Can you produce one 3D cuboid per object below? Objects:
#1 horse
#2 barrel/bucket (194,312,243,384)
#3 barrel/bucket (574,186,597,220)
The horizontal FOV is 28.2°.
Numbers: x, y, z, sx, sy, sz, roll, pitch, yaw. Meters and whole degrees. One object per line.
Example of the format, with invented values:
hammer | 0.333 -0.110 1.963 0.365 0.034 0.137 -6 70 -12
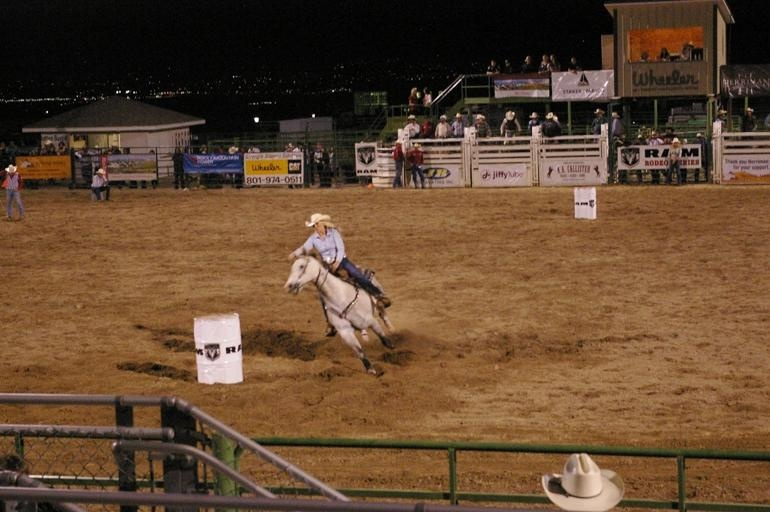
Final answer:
horse | -1.188 1.692 46.105 1.787 3.643 3.608 5 10 44
barrel/bucket | -4.913 2.761 45.544 1.386 2.011 0.537 -3 7 -8
barrel/bucket | 7.465 -1.965 57.590 0.861 1.173 0.700 0 8 16
